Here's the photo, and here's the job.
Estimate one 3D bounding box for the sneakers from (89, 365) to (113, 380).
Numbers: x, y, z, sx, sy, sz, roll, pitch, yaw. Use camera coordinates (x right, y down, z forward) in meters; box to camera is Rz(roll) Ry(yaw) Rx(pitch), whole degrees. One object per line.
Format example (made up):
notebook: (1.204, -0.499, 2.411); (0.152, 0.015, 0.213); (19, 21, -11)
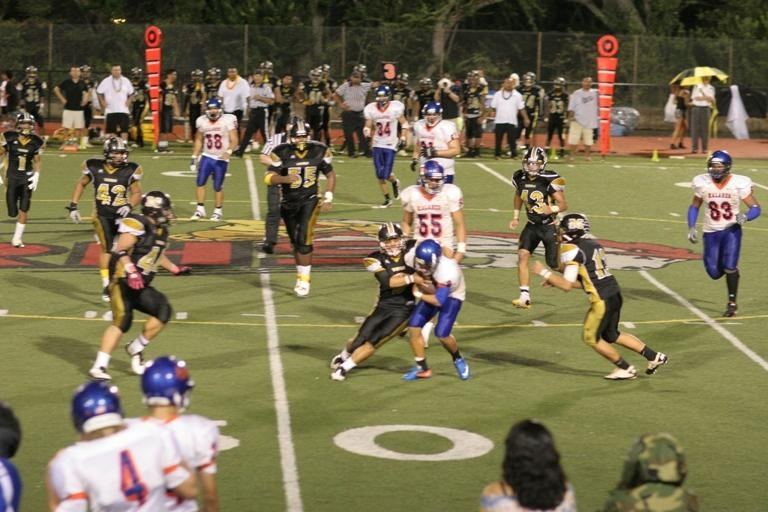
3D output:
sneakers: (-3.017, 1.205, 8.451); (0.309, 0.089, 0.134); (2, 0, 10)

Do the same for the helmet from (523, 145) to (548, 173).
helmet: (2.146, -1.375, 11.601); (0.305, 0.367, 0.370); (1, 7, 7)

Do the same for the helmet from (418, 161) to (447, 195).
helmet: (0.605, -0.996, 10.274); (0.298, 0.417, 0.304); (0, 8, -1)

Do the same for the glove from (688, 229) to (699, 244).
glove: (4.472, -0.307, 11.763); (0.103, 0.226, 0.499); (3, 7, 16)

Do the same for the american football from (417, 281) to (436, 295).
american football: (0.426, 0.318, 8.830); (0.205, 0.156, 0.155); (2, 8, 18)

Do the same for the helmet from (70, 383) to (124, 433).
helmet: (-1.566, 0.810, 4.523); (0.307, 0.212, 0.323); (-9, 12, -12)

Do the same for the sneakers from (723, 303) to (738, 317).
sneakers: (4.744, 0.733, 11.129); (0.126, 0.108, 0.297); (2, 17, 15)

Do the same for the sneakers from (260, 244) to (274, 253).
sneakers: (-1.911, -0.134, 13.184); (0.193, 0.189, 0.225); (0, 7, -3)

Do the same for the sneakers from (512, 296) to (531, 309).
sneakers: (1.842, 0.623, 11.018); (0.160, 0.107, 0.276); (6, 6, -13)

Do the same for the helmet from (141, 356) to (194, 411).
helmet: (-1.367, 0.738, 4.961); (0.364, 0.244, 0.350); (4, 10, 10)

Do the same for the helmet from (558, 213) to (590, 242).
helmet: (2.176, -0.338, 9.260); (0.444, 0.278, 0.318); (18, 15, 13)

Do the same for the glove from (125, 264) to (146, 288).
glove: (-2.599, 0.205, 8.435); (0.189, 0.297, 0.256); (-2, 8, -15)

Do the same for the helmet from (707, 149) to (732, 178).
helmet: (4.687, -1.258, 11.331); (0.287, 0.398, 0.338); (2, 8, 15)

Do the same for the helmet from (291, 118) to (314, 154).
helmet: (-1.229, -1.792, 11.973); (0.252, 0.485, 0.333); (2, 8, 14)
